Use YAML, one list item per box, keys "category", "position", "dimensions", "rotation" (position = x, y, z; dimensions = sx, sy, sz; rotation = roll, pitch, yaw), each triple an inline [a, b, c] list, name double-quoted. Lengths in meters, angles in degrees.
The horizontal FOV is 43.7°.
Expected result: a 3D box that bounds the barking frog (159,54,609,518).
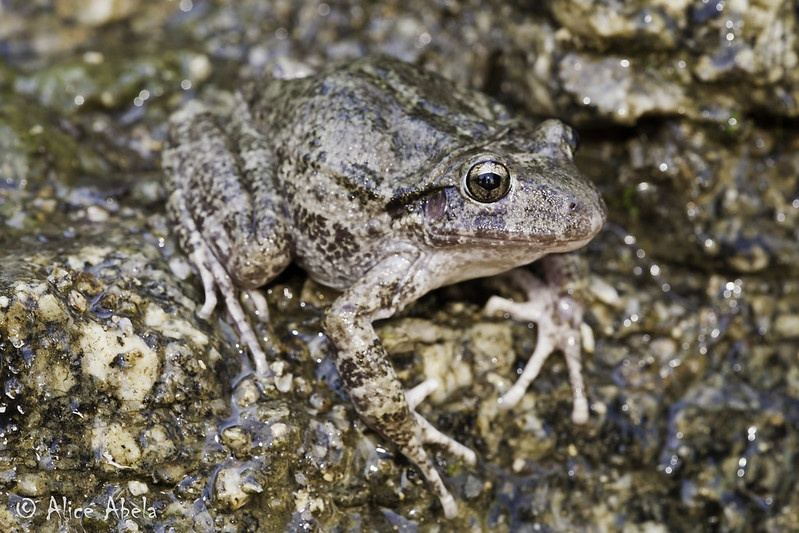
- category: "barking frog"
  position: [-0.284, 0.183, 8.423]
  dimensions: [3.207, 1.663, 3.741]
  rotation: [-29, 72, -36]
